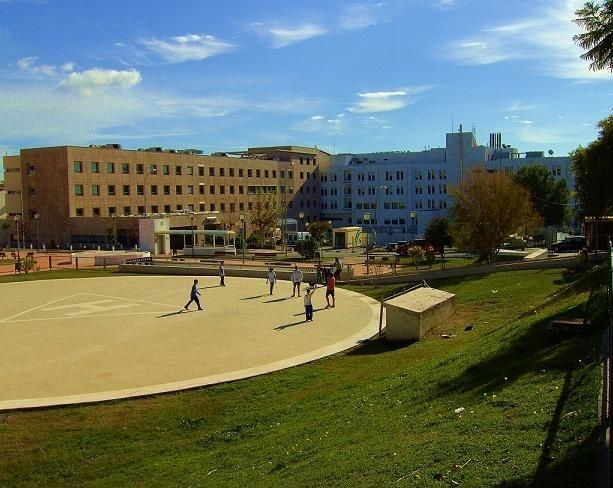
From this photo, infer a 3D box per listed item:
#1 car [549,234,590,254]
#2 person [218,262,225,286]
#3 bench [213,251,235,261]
[{"bbox_3d":[21.365,-0.028,53.006,2.950,1.751,1.944,1,1,10],"label":"car"},{"bbox_3d":[-5.487,2.020,42.484,0.331,1.417,2.193,-10,3,-4],"label":"person"},{"bbox_3d":[-8.055,0.973,64.259,2.107,0.810,3.297,-13,3,-8],"label":"bench"}]
